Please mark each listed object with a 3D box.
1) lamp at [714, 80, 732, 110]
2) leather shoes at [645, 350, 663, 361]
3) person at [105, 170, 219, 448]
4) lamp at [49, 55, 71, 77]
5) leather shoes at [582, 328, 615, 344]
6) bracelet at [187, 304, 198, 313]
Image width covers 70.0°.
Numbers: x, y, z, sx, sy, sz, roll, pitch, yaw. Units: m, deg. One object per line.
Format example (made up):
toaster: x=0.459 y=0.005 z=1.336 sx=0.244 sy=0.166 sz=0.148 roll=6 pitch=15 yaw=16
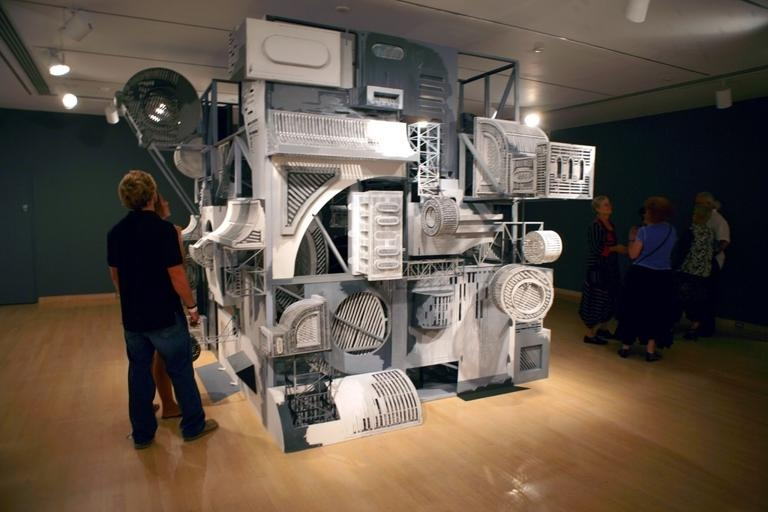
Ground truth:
lamp: x=4.994 y=-2.340 z=8.048 sx=0.212 sy=0.316 sz=0.674 roll=1 pitch=5 yaw=31
leather shoes: x=3.707 y=1.357 z=7.516 sx=0.307 sy=0.137 sz=0.105 roll=-2 pitch=5 yaw=-32
person: x=-2.278 y=0.727 z=5.535 sx=0.850 sy=2.370 sz=0.355 roll=-3 pitch=4 yaw=-22
lamp: x=-4.148 y=-2.429 z=6.976 sx=0.174 sy=0.171 sz=0.163 roll=-28 pitch=-27 yaw=5
leather shoes: x=3.230 y=1.213 z=8.240 sx=0.313 sy=0.120 sz=0.239 roll=-5 pitch=7 yaw=-17
bracelet: x=-1.949 y=0.536 z=5.580 sx=0.101 sy=0.096 sz=0.083 roll=1 pitch=1 yaw=41
